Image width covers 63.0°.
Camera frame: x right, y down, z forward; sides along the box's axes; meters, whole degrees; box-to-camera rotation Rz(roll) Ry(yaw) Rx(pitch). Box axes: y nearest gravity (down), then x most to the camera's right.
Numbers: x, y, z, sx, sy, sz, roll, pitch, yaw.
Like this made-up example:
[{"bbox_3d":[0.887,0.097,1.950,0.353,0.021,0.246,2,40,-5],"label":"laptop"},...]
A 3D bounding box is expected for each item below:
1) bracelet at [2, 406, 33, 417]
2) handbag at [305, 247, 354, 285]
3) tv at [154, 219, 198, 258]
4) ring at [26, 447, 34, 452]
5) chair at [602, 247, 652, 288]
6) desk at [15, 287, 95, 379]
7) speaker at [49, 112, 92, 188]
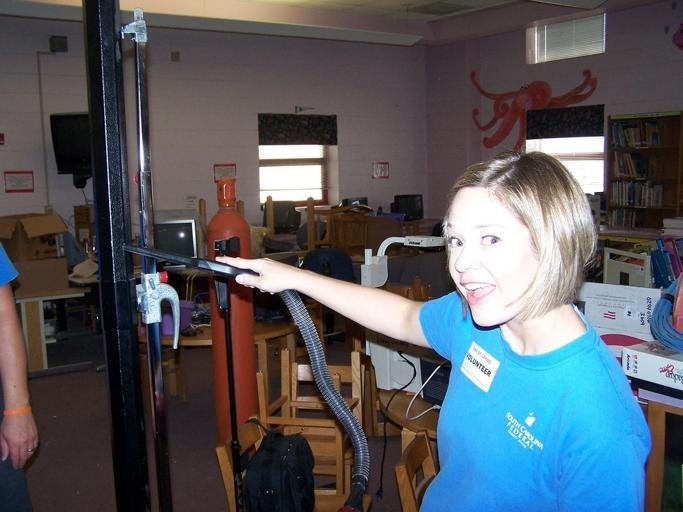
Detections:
[{"bbox_3d":[-1.088,0.521,1.885,0.073,0.035,0.023,-8,12,-29],"label":"bracelet"},{"bbox_3d":[-0.102,0.077,5.256,0.375,0.369,0.293,-3,7,-8],"label":"handbag"},{"bbox_3d":[-1.526,-0.191,5.180,0.339,0.341,0.189,-2,14,-17],"label":"tv"},{"bbox_3d":[-1.057,0.658,1.907,0.018,0.009,0.021,-3,0,1],"label":"ring"},{"bbox_3d":[2.176,0.088,4.258,0.300,0.327,0.188,3,1,45],"label":"chair"},{"bbox_3d":[-2.762,0.750,5.457,0.621,0.769,0.791,-6,12,-25],"label":"desk"},{"bbox_3d":[-3.589,-1.424,7.685,0.541,0.960,0.298,5,17,6],"label":"speaker"}]
